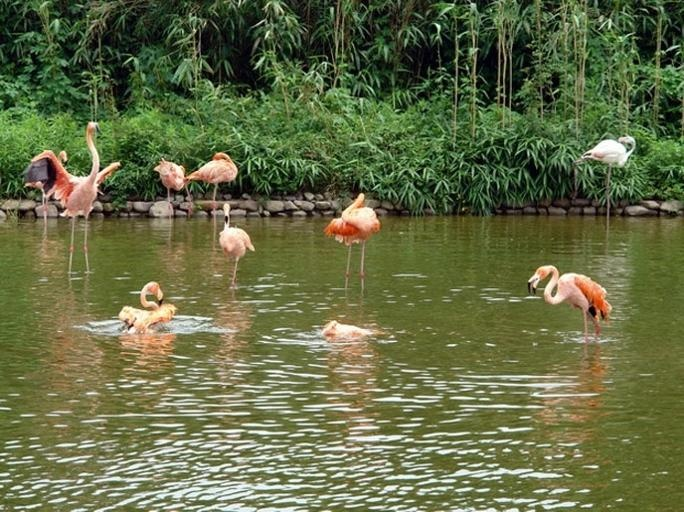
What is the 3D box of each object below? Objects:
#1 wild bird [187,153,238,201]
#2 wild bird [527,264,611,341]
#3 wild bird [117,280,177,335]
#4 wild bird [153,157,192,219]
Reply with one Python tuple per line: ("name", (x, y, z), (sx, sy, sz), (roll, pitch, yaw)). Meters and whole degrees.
("wild bird", (-2.628, -1.623, 17.825), (0.846, 0.963, 0.497), (0, 5, 25))
("wild bird", (2.247, 0.493, 8.466), (0.961, 0.842, 0.299), (-3, 8, -19))
("wild bird", (-1.983, 0.590, 8.833), (0.605, 0.654, 0.224), (1, -3, -30))
("wild bird", (-3.618, -1.475, 18.580), (0.728, 1.226, 1.525), (-2, 5, -10))
